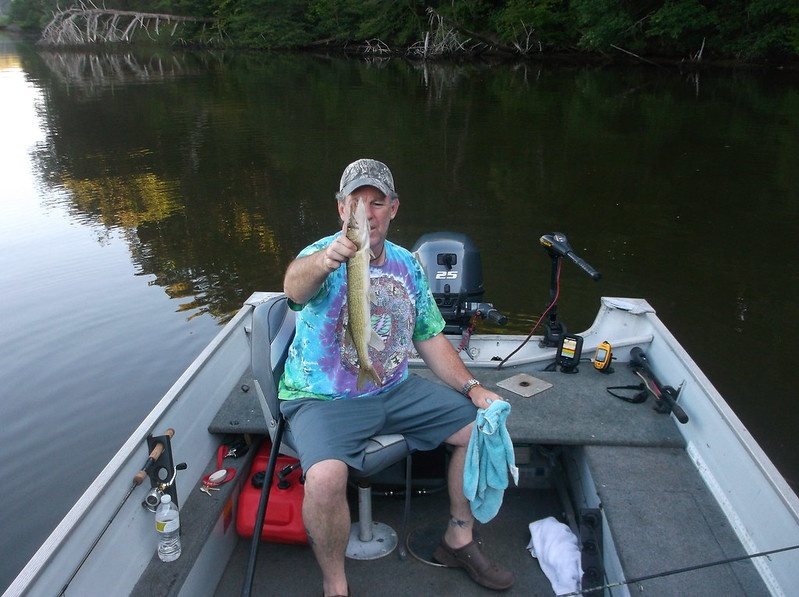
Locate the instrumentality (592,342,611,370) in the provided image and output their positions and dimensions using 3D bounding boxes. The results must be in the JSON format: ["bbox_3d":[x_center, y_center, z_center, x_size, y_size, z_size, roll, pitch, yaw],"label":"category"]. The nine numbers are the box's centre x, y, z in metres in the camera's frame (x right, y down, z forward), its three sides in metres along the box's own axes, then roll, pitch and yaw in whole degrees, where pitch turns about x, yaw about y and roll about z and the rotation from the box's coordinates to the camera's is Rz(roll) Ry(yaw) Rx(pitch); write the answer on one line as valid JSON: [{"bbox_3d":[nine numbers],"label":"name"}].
[{"bbox_3d":[1.399,0.399,4.204,0.149,0.175,0.043,16,9,37],"label":"instrumentality"}]

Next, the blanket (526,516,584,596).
[{"bbox_3d":[0.911,1.480,3.519,0.194,0.076,0.323,12,34,-19],"label":"blanket"}]

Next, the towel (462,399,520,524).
[{"bbox_3d":[0.477,0.857,3.237,0.279,0.634,0.263,0,23,9],"label":"towel"}]

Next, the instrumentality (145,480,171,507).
[{"bbox_3d":[-1.323,1.048,3.301,0.066,0.065,0.134,11,21,2],"label":"instrumentality"}]

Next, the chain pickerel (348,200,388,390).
[{"bbox_3d":[-0.211,-0.023,2.964,0.185,0.883,0.219,5,6,31],"label":"chain pickerel"}]

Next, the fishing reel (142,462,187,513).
[{"bbox_3d":[-1.290,1.024,3.322,0.159,0.080,0.208,29,57,-12],"label":"fishing reel"}]

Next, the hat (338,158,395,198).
[{"bbox_3d":[-0.185,-0.628,3.249,0.309,0.208,0.250,-4,23,0],"label":"hat"}]

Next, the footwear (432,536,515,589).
[{"bbox_3d":[0.424,1.465,3.493,0.481,0.223,0.198,22,20,15],"label":"footwear"}]

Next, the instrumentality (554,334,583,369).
[{"bbox_3d":[1.179,0.387,4.273,0.147,0.075,0.259,13,69,15],"label":"instrumentality"}]

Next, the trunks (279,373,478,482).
[{"bbox_3d":[-0.148,0.627,3.298,0.662,0.193,0.472,-12,20,-31],"label":"trunks"}]
